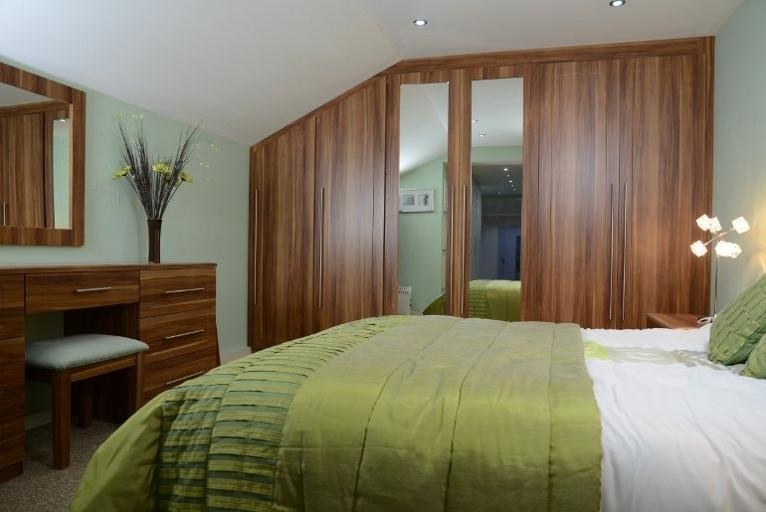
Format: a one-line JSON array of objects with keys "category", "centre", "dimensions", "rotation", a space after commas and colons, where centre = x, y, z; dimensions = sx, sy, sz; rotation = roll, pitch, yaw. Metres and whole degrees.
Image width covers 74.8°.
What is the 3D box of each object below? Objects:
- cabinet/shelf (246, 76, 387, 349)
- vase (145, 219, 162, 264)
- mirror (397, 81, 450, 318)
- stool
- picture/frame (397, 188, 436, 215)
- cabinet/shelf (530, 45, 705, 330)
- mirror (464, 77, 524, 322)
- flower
[{"category": "cabinet/shelf", "centre": [-0.635, -0.407, 4.826], "dimensions": [1.356, 2.475, 0.446], "rotation": [0, 10, 13]}, {"category": "vase", "centre": [-1.667, -0.116, 3.655], "dimensions": [0.078, 0.303, 0.129], "rotation": [-4, 10, -10]}, {"category": "mirror", "centre": [0.376, -0.540, 4.634], "dimensions": [0.447, 2.054, 0.340], "rotation": [0, 10, 8]}, {"category": "stool", "centre": [-1.756, 0.754, 3.173], "dimensions": [0.639, 0.798, 0.818], "rotation": [0, 1, 27]}, {"category": "picture/frame", "centre": [0.330, -0.513, 4.637], "dimensions": [0.251, 0.176, 0.036], "rotation": [0, -4, 13]}, {"category": "cabinet/shelf", "centre": [1.966, -0.556, 4.245], "dimensions": [1.465, 2.242, 0.440], "rotation": [0, 10, 12]}, {"category": "mirror", "centre": [1.016, -0.505, 4.496], "dimensions": [0.459, 2.122, 0.321], "rotation": [1, 10, 15]}, {"category": "flower", "centre": [-1.694, -0.669, 3.931], "dimensions": [0.700, 0.770, 0.741], "rotation": [1, 1, 38]}]
